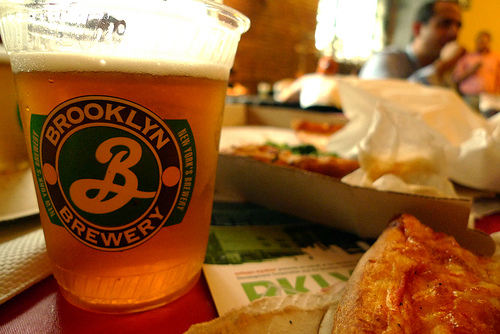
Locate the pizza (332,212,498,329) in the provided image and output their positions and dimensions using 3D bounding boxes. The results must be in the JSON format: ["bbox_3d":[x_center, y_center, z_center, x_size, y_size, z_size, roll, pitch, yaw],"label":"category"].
[{"bbox_3d":[0.230,0.139,0.506,0.237,0.112,0.163,3,16,5],"label":"pizza"}]

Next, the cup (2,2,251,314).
[{"bbox_3d":[-0.205,0.011,0.704,0.382,0.427,0.439,-1,5,-43],"label":"cup"}]
